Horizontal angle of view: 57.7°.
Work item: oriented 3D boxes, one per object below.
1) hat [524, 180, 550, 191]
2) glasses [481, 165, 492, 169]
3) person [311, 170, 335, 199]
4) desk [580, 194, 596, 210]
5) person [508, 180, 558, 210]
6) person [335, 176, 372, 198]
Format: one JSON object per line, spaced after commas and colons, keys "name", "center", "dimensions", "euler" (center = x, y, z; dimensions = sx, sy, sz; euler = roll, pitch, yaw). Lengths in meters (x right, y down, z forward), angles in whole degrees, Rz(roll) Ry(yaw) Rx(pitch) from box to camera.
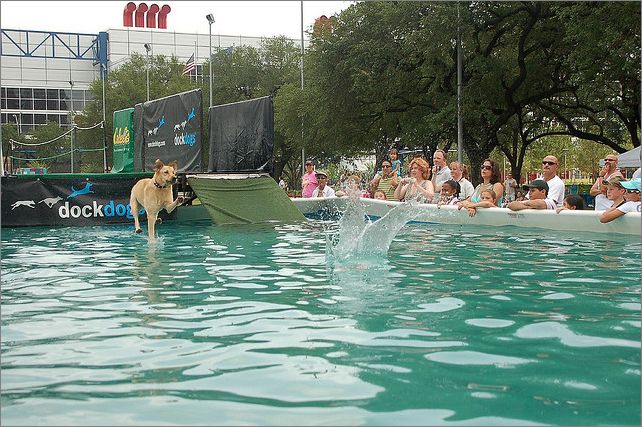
{"name": "hat", "center": [4.299, -0.565, 11.660], "dimensions": [0.390, 0.226, 0.259], "euler": [9, -3, 6]}
{"name": "glasses", "center": [3.396, -0.953, 12.068], "dimensions": [0.103, 0.100, 0.252], "euler": [-6, 11, -25]}
{"name": "person", "center": [0.047, -0.847, 17.009], "dimensions": [0.668, 0.773, 1.048], "euler": [-1, 10, -2]}
{"name": "desk", "center": [9.201, -0.403, 20.117], "dimensions": [0.466, 0.616, 0.869], "euler": [-3, 6, 2]}
{"name": "person", "center": [4.259, -0.360, 11.790], "dimensions": [0.859, 0.442, 0.519], "euler": [-2, -4, -5]}
{"name": "person", "center": [0.616, -0.661, 12.505], "dimensions": [0.873, 0.425, 0.877], "euler": [0, -5, 3]}
